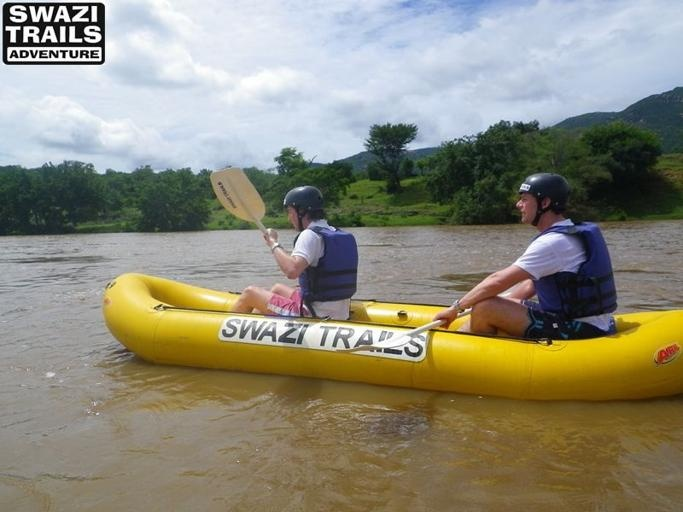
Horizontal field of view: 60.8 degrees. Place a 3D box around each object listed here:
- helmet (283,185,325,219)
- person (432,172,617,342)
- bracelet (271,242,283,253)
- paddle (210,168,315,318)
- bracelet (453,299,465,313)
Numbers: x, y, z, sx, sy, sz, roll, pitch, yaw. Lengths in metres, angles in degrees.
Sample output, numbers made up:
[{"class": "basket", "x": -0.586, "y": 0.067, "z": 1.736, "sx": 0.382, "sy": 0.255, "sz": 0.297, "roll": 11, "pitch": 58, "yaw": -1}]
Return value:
[{"class": "helmet", "x": -0.295, "y": -0.539, "z": 5.647, "sx": 0.453, "sy": 0.314, "sz": 0.345, "roll": -1, "pitch": 19, "yaw": 22}, {"class": "person", "x": 1.636, "y": 0.003, "z": 4.922, "sx": 1.184, "sy": 1.395, "sz": 0.774, "roll": -4, "pitch": 7, "yaw": 21}, {"class": "bracelet", "x": -0.613, "y": -0.093, "z": 5.461, "sx": 0.115, "sy": 0.067, "sz": 0.110, "roll": -27, "pitch": -24, "yaw": 0}, {"class": "paddle", "x": -0.820, "y": -0.250, "z": 6.564, "sx": 0.567, "sy": 1.994, "sz": 0.277, "roll": -26, "pitch": -23, "yaw": -47}, {"class": "bracelet", "x": 1.014, "y": 0.435, "z": 5.017, "sx": 0.094, "sy": 0.121, "sz": 0.129, "roll": -10, "pitch": -33, "yaw": 6}]
